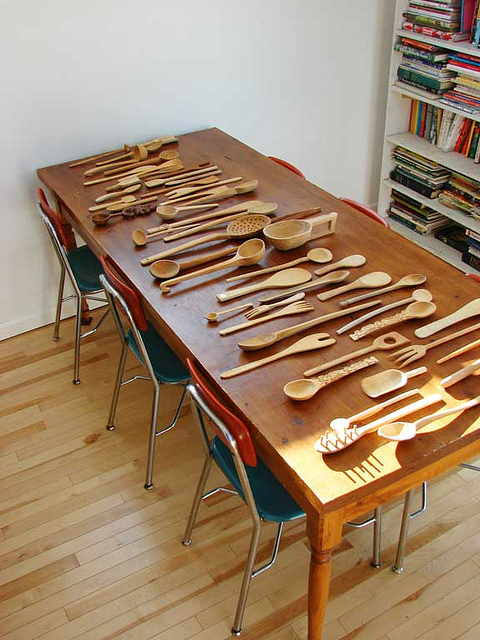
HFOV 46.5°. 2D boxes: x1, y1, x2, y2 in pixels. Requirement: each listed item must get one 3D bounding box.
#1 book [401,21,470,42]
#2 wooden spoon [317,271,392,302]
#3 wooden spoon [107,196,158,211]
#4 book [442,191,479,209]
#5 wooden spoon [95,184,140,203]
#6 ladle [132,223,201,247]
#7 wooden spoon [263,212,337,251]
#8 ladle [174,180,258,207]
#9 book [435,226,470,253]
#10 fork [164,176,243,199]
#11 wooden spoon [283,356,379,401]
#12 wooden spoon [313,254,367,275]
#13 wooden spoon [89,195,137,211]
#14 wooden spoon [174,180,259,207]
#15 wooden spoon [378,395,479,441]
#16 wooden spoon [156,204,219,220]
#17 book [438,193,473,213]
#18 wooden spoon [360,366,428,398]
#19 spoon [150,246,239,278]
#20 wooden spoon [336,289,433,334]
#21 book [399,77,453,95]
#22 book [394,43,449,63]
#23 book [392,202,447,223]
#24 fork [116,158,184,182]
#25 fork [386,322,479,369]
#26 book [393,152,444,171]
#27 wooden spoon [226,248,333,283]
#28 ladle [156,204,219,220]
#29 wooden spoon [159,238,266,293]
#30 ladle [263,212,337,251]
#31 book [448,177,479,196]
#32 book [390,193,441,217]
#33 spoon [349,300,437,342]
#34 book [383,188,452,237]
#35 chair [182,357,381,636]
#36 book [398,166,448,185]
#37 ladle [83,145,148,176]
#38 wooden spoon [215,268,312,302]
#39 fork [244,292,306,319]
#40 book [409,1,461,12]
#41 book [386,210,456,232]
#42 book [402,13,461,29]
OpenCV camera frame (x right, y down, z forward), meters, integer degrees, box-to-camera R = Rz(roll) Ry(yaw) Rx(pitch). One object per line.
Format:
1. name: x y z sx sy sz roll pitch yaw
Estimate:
1. book: 0.940 -1.366 2.647 0.177 0.023 0.179 29 26 37
2. wooden spoon: 0.330 -0.098 1.507 0.258 0.017 0.074 -16 37 -10
3. wooden spoon: -0.388 -0.418 2.015 0.160 0.022 0.037 -19 18 -18
4. book: 1.152 -0.621 2.884 0.025 0.027 0.207 -34 52 -29
5. wooden spoon: -0.450 -0.468 2.074 0.247 0.011 0.056 -19 48 -36
6. ladle: -0.246 -0.271 1.843 0.241 0.045 0.064 -11 58 -12
7. wooden spoon: 0.201 -0.260 1.743 0.239 0.078 0.110 -18 46 -13
8. ladle: -0.079 -0.454 2.023 0.304 0.041 0.056 -19 8 1
9. book: 1.203 -0.463 3.134 0.169 0.037 0.173 -26 39 -24
10. fork: -0.132 -0.486 2.069 0.360 0.016 0.049 -14 40 -18
11. wooden spoon: 0.228 0.126 1.245 0.289 0.038 0.067 -17 36 -27
12. wooden spoon: 0.295 -0.162 1.605 0.179 0.020 0.057 -16 41 -15
13. wooden spoon: -0.454 -0.427 2.031 0.252 0.010 0.055 -17 35 -30
14. wooden spoon: -0.079 -0.454 2.022 0.298 0.040 0.056 -20 9 -1
15. wooden spoon: 0.366 0.192 1.073 0.213 0.030 0.043 -13 32 -26
16. wooden spoon: -0.173 -0.368 1.960 0.229 0.043 0.062 -8 34 -22
17. book: 1.138 -0.611 2.925 0.023 0.045 0.204 -29 45 -31
18. wooden spoon: 0.316 0.120 1.171 0.145 0.019 0.051 -15 36 -34
19. spoon: -0.129 -0.158 1.697 0.318 0.043 0.077 -16 39 -18
20. wooden spoon: 0.364 -0.017 1.389 0.206 0.028 0.051 -19 34 -15
21. book: 0.949 -1.177 2.814 0.157 0.029 0.140 -16 39 -32
22. book: 0.884 -1.332 2.793 0.174 0.036 0.183 -11 36 -41
23. book: 1.037 -0.615 3.257 0.160 0.035 0.159 -29 51 -36
24. fork: -0.357 -0.596 2.236 0.329 0.017 0.038 -20 36 -8
25. fork: 0.442 0.062 1.266 0.205 0.008 0.024 -24 44 -20
26. book: 0.972 -0.870 3.083 0.048 0.078 0.290 -48 52 -7
27. wooden spoon: 0.135 -0.170 1.621 0.360 0.026 0.109 -14 33 -12
28. ladle: -0.181 -0.371 1.952 0.217 0.038 0.058 -9 39 -21
29. wooden spoon: -0.078 -0.160 1.626 0.330 0.068 0.082 -19 41 -14
30. ladle: 0.201 -0.255 1.747 0.240 0.078 0.109 -17 45 -13
31. book: 1.150 -0.680 2.842 0.010 0.035 0.216 -47 45 -1
32. book: 1.040 -0.686 3.221 0.165 0.037 0.165 34 31 30
33. spoon: 0.380 0.003 1.355 0.246 0.064 0.059 -11 30 -25
34. book: 1.022 -0.621 3.304 0.277 0.101 0.340 -24 50 -35
35. chair: 0.106 0.436 1.309 0.436 0.607 0.377 -23 50 -19
36. book: 1.004 -0.806 3.104 0.089 0.049 0.327 -12 29 -27
37. ladle: -0.523 -0.664 2.347 0.310 0.071 0.099 -23 44 -10
38. wooden spoon: 0.097 -0.102 1.553 0.322 0.026 0.092 -14 38 -10
39. fork: 0.094 -0.035 1.458 0.197 0.010 0.023 -18 48 -35
40. book: 0.919 -1.477 2.637 0.053 0.054 0.296 -11 29 -24
41. book: 1.027 -0.571 3.302 0.204 0.044 0.197 -21 42 -31
42. book: 0.919 -1.415 2.644 0.159 0.025 0.149 -24 43 -25
